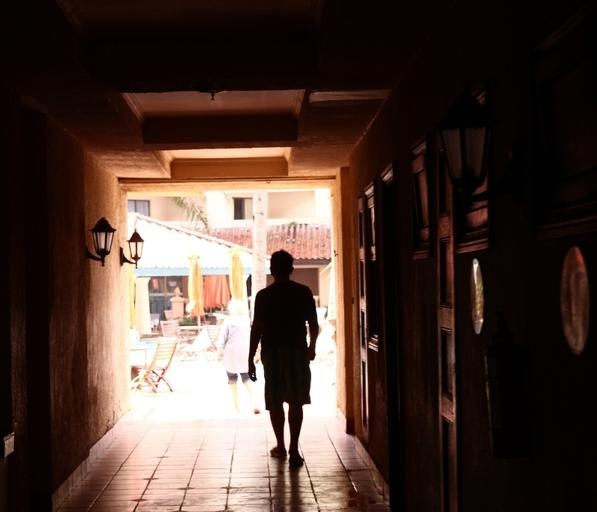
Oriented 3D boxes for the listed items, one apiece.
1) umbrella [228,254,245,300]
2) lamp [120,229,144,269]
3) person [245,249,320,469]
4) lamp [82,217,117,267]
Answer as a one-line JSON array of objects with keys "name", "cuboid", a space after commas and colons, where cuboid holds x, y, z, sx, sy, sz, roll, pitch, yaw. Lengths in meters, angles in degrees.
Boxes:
[{"name": "umbrella", "cuboid": [-1.787, 0.562, 15.011, 0.442, 1.452, 0.891, 0, -4, -6]}, {"name": "lamp", "cuboid": [-2.734, -0.161, 8.400, 0.363, 0.707, 0.237, 2, 26, -17]}, {"name": "person", "cuboid": [-0.153, 1.172, 6.060, 0.777, 2.494, 0.727, -1, -3, 14]}, {"name": "lamp", "cuboid": [-2.426, -0.216, 6.394, 0.241, 0.618, 0.387, 0, 3, -15]}]
